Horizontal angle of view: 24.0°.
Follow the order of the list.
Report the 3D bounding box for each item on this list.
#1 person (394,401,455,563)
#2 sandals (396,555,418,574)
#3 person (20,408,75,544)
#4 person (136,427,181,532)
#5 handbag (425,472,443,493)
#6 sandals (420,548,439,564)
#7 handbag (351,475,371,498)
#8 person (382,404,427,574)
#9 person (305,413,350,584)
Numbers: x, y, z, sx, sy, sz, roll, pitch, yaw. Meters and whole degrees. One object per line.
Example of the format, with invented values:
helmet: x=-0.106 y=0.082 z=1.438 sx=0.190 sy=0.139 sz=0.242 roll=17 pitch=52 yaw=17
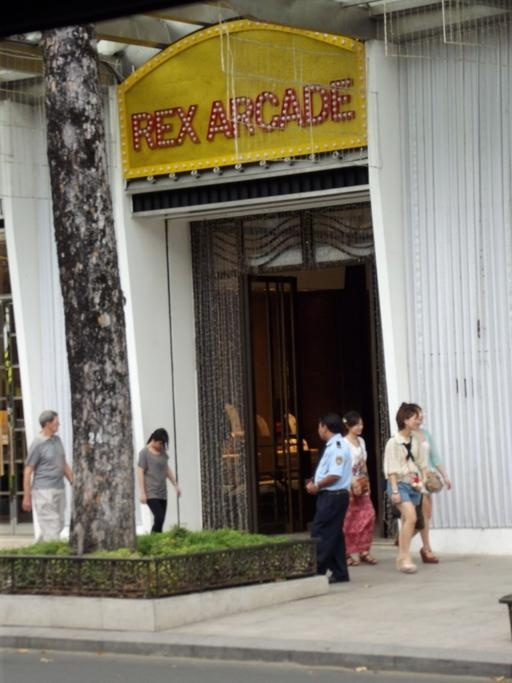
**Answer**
person: x=1.630 y=1.497 z=11.992 sx=0.589 sy=1.789 sz=0.606 roll=-1 pitch=19 yaw=11
sandals: x=1.428 y=2.123 z=11.458 sx=0.085 sy=0.155 sz=0.261 roll=1 pitch=-11 yaw=-16
person: x=-2.060 y=1.331 z=11.965 sx=0.409 sy=1.278 sz=0.725 roll=-3 pitch=-1 yaw=8
person: x=-1.016 y=1.416 z=12.322 sx=0.409 sy=1.042 sz=0.829 roll=-3 pitch=-1 yaw=0
handbag: x=1.696 y=1.353 z=11.521 sx=0.181 sy=0.150 sz=0.137 roll=-1 pitch=4 yaw=6
sandals: x=1.755 y=2.158 z=12.168 sx=0.089 sy=0.107 sz=0.241 roll=4 pitch=-8 yaw=-25
handbag: x=1.050 y=1.425 z=11.992 sx=0.156 sy=0.193 sz=0.204 roll=-4 pitch=-8 yaw=9
person: x=1.434 y=1.390 z=11.490 sx=0.323 sy=1.201 sz=0.526 roll=-4 pitch=-2 yaw=42
person: x=0.675 y=1.420 z=10.829 sx=0.383 sy=1.080 sz=0.538 roll=-3 pitch=-1 yaw=10
